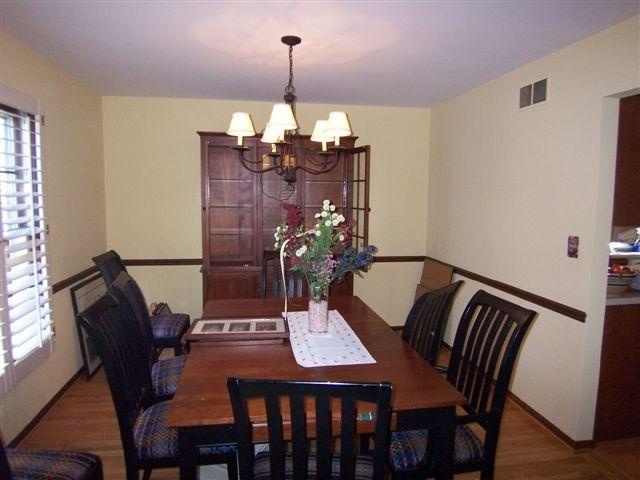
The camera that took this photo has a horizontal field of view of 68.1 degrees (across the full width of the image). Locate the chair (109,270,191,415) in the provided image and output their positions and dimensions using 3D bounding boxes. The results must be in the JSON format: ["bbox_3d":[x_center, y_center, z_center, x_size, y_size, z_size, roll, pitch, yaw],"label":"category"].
[{"bbox_3d":[-1.164,0.605,3.410,0.501,0.709,0.510,3,17,31],"label":"chair"}]

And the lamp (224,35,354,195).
[{"bbox_3d":[-0.183,-0.887,3.404,0.864,1.094,0.942,4,10,20],"label":"lamp"}]

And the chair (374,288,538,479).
[{"bbox_3d":[0.925,0.864,3.361,1.112,1.649,0.907,1,0,-7],"label":"chair"}]

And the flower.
[{"bbox_3d":[-0.024,0.131,3.156,0.464,0.562,0.538,6,20,21],"label":"flower"}]
